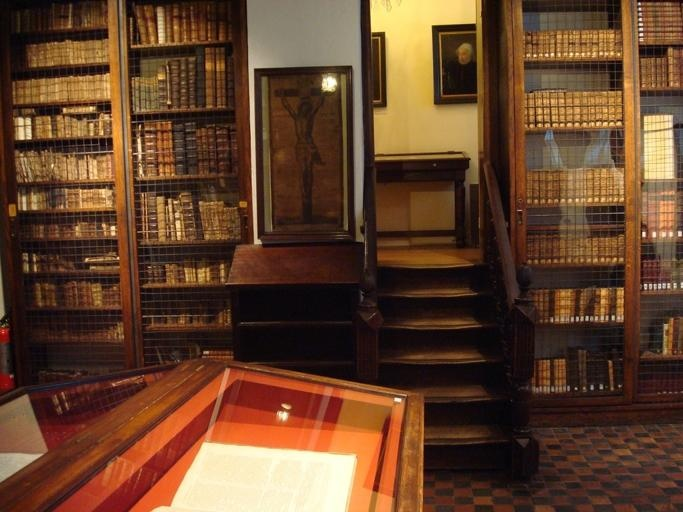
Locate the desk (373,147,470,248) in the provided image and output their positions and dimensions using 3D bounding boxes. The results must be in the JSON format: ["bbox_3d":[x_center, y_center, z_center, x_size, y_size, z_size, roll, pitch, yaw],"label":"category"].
[{"bbox_3d":[0.938,-0.681,7.285,1.186,1.124,0.562,0,-1,5],"label":"desk"}]

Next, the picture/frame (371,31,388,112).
[{"bbox_3d":[0.403,-2.179,7.638,0.043,0.774,0.434,-9,16,-22],"label":"picture/frame"}]

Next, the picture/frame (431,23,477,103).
[{"bbox_3d":[1.296,-2.256,7.440,0.877,0.990,0.073,0,11,2],"label":"picture/frame"}]

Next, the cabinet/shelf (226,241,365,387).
[{"bbox_3d":[-0.310,0.367,4.948,1.251,1.434,0.890,0,4,4],"label":"cabinet/shelf"}]
